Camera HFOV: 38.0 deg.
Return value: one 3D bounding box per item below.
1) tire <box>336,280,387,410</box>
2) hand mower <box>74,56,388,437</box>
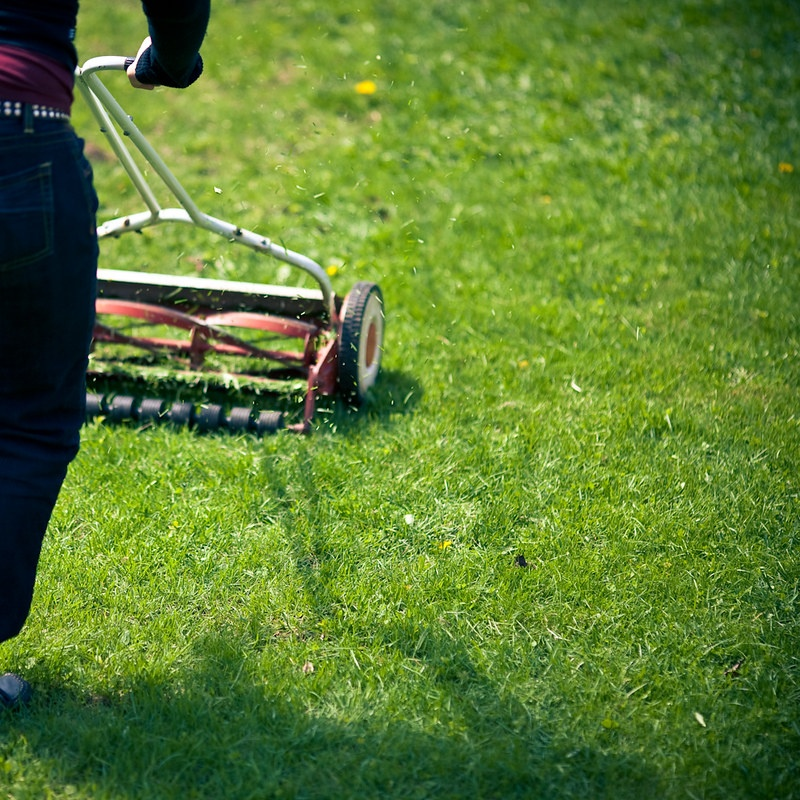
[{"bbox_3d":[-0.169,-0.262,5.131,0.224,0.488,0.463,16,34,0],"label":"tire"},{"bbox_3d":[-0.794,-0.715,5.657,1.843,1.738,1.308,10,28,2],"label":"hand mower"}]
